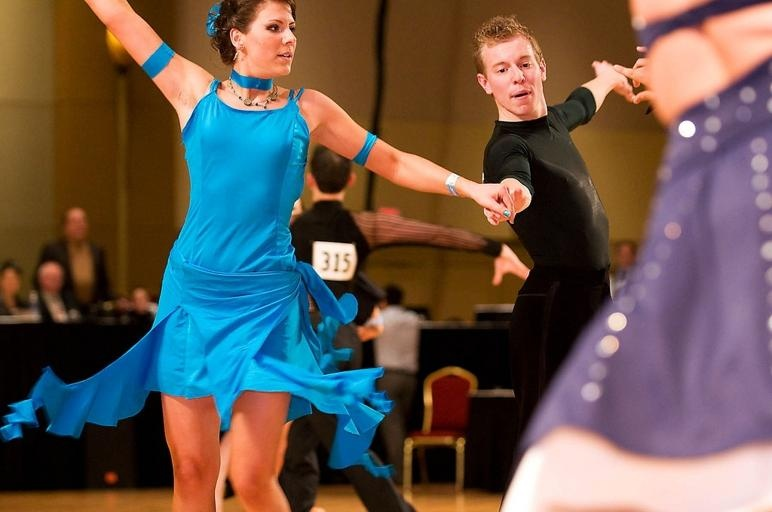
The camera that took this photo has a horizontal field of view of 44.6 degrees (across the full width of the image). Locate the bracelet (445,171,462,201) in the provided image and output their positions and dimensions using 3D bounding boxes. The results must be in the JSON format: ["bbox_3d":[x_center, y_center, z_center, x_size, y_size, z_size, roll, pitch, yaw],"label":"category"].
[{"bbox_3d":[0.226,-0.241,3.175,0.059,0.056,0.069,14,5,-8],"label":"bracelet"}]
